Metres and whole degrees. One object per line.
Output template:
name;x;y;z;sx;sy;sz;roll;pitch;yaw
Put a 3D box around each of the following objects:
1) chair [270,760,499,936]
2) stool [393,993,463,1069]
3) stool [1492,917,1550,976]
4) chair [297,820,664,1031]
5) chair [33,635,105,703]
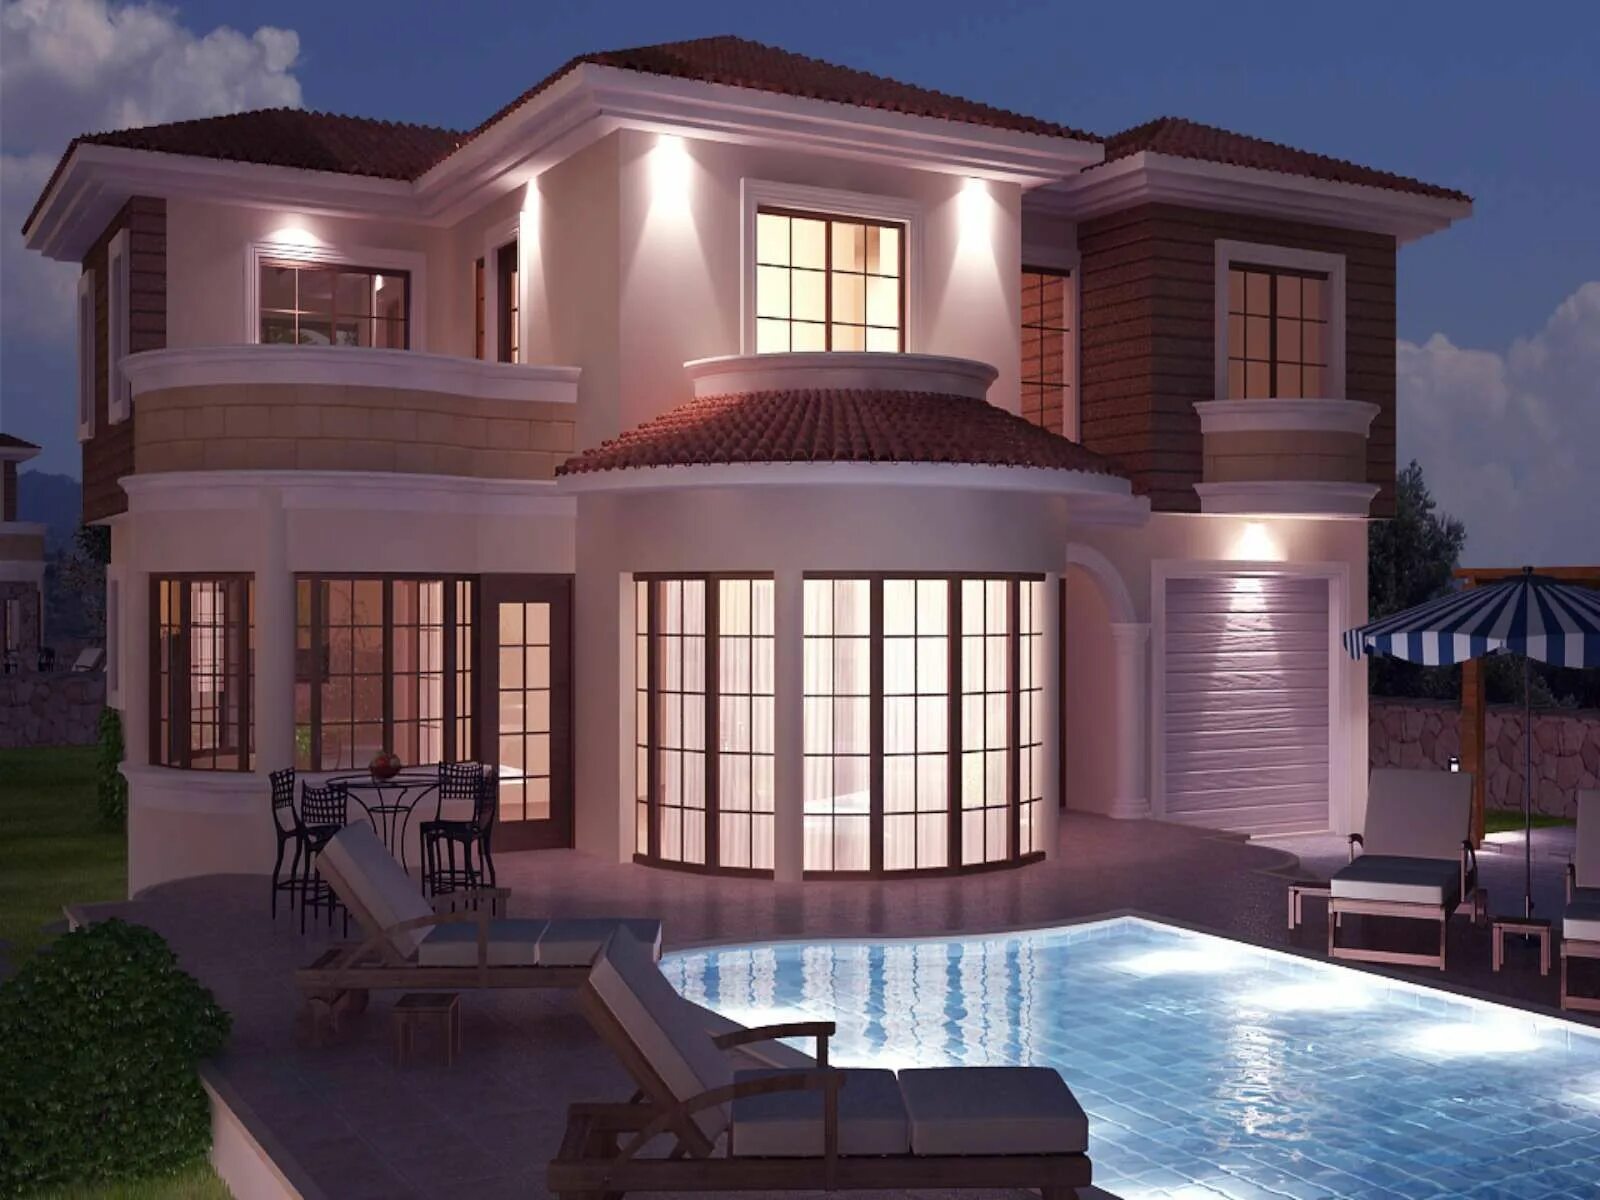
chair;-4.624;2.925;16.081;2.101;1.378;1.868;1;-1;-40
stool;-2.797;3.229;11.242;0.481;0.489;0.492;0;-4;-4
stool;6.469;3.020;13.337;0.546;0.532;0.560;-1;-3;39
chair;-2.541;2.662;11.952;2.570;1.375;1.529;0;0;-5
chair;-20.199;1.894;41.528;1.849;2.006;1.210;-1;-6;11
